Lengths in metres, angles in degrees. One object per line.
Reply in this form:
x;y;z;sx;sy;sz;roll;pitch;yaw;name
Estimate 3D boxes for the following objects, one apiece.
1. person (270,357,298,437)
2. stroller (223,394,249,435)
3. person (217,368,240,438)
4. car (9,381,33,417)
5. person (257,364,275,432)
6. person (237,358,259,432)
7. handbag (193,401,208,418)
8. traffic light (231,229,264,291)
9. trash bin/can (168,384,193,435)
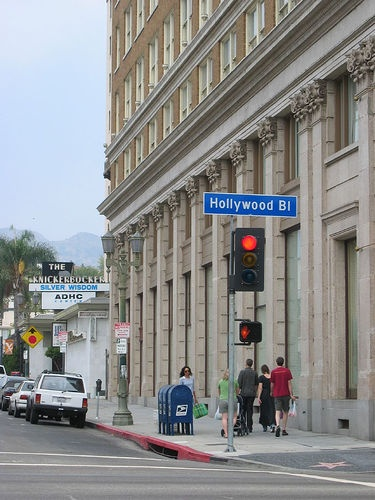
2.053;3.111;23.799;0.442;1.646;0.645;-1;-5;21;person
1.158;3.635;24.335;0.455;0.936;0.513;4;-6;-29;stroller
0.869;3.203;23.302;0.387;1.442;0.516;1;-5;-18;person
-5.418;4.782;35.922;0.701;0.809;1.631;2;-2;-11;car
1.770;3.360;25.107;0.370;1.471;0.312;-7;-7;32;person
1.401;3.270;25.077;0.385;1.692;0.541;1;-4;-10;person
0.286;3.660;25.389;0.303;0.361;0.718;1;-13;1;handbag
1.092;0.131;19.704;0.542;1.176;0.452;0;-10;3;traffic light
-0.147;3.531;24.398;0.550;1.017;1.338;1;-12;-1;trash bin/can
